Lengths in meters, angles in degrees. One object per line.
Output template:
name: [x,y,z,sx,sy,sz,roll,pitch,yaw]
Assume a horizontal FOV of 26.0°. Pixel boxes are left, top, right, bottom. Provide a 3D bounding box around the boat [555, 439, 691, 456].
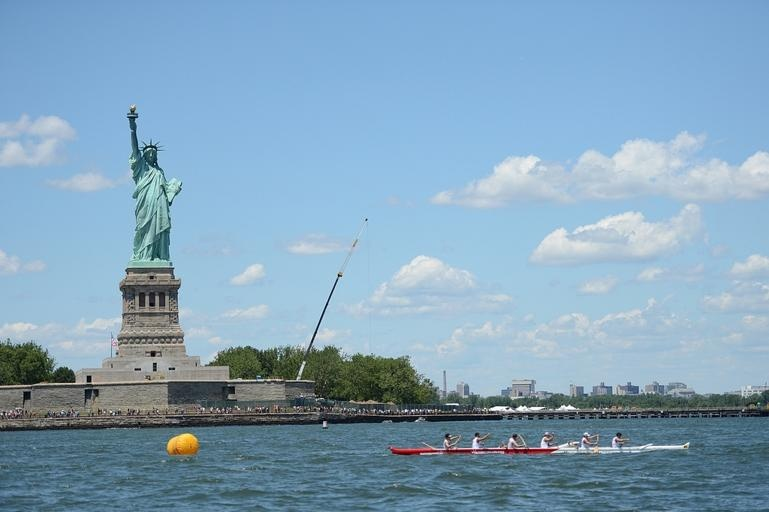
boat: [29.366,23.751,205.095,17.545,0.953,3.864,0,1,-26]
